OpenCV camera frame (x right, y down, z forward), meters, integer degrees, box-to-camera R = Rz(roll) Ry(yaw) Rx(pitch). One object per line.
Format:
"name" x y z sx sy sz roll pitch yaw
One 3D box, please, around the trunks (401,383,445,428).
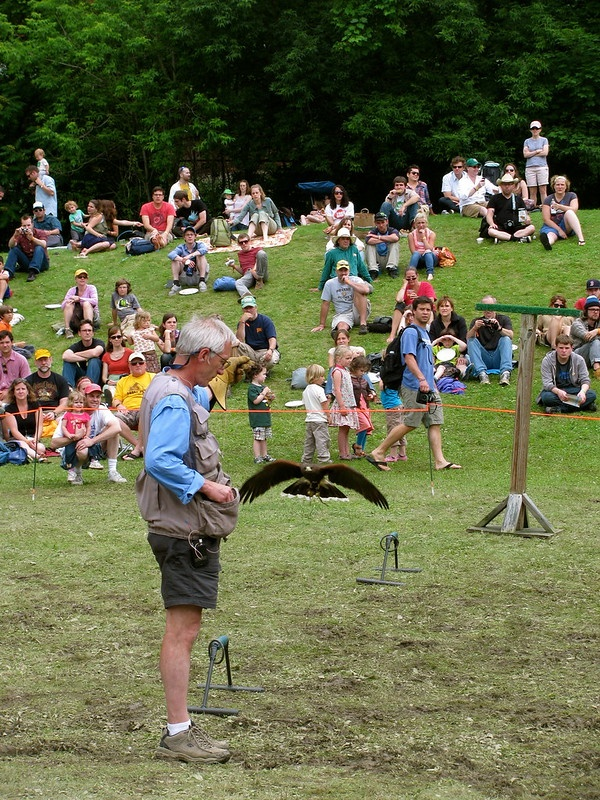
"trunks" 1.204 0.087 17.358 0.416 0.419 0.459 -1 3 2

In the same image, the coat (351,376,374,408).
"coat" 0.644 -0.074 18.629 0.202 0.328 0.355 -5 2 29

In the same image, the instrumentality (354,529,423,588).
"instrumentality" 0.715 1.263 14.085 0.450 0.362 0.612 1 7 14

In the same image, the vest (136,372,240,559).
"vest" -0.782 0.403 11.673 0.734 1.071 0.829 -1 3 -9

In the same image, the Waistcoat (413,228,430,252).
"Waistcoat" 1.641 -2.153 23.807 0.225 0.301 0.327 -1 -2 2

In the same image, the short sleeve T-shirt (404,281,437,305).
"short sleeve T-shirt" 1.460 -1.325 21.589 0.451 0.429 0.455 -1 -2 9

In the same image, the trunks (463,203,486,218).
"trunks" 2.665 -2.888 26.759 0.395 0.215 0.116 3 -16 23

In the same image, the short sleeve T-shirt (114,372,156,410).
"short sleeve T-shirt" -1.674 -0.072 17.279 0.447 0.330 0.241 -1 -7 4

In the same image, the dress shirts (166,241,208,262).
"dress shirts" -1.626 -2.080 24.783 0.386 0.196 0.474 -9 -9 0

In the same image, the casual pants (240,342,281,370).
"casual pants" -0.501 -0.557 20.956 0.358 0.134 0.342 23 2 -12

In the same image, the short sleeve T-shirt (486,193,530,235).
"short sleeve T-shirt" 3.024 -2.657 25.063 0.809 0.729 0.550 0 14 11

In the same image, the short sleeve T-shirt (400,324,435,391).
"short sleeve T-shirt" 1.143 -0.392 17.196 0.435 0.697 0.645 -1 4 11

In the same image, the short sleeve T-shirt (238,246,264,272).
"short sleeve T-shirt" -0.706 -1.922 24.133 0.382 0.320 0.210 -5 -4 20

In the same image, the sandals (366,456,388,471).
"sandals" 0.788 0.665 17.968 0.097 0.258 0.104 -33 21 7

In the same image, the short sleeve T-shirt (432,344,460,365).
"short sleeve T-shirt" 1.740 -0.529 20.851 0.266 0.198 0.270 -1 3 3

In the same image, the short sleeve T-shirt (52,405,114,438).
"short sleeve T-shirt" -2.241 0.220 17.882 0.419 0.179 0.419 -29 21 -34

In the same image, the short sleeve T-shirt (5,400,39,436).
"short sleeve T-shirt" -3.104 0.205 19.115 0.403 0.350 0.229 -6 7 -35

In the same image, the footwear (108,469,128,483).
"footwear" -1.898 0.790 17.727 0.087 0.092 0.236 -10 7 -37

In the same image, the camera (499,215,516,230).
"camera" 2.983 -2.502 24.980 0.151 0.152 0.159 -20 4 -5

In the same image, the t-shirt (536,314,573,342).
"t-shirt" 2.971 -0.819 20.175 0.320 0.353 0.665 2 11 14

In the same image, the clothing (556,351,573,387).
"clothing" 2.985 -0.300 19.659 0.251 0.312 0.118 0 12 5

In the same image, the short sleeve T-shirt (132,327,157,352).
"short sleeve T-shirt" -1.902 -0.702 20.800 0.306 0.297 0.160 -1 -35 -11

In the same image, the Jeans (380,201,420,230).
"Jeans" 1.428 -2.597 25.015 0.457 0.501 0.532 -4 7 6

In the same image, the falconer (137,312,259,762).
"falconer" -0.833 0.930 11.659 0.850 2.858 1.219 0 1 -8

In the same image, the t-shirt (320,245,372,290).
"t-shirt" 0.586 -1.657 22.232 0.838 0.605 0.262 -1 -3 -12

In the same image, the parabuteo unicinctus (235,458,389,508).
"parabuteo unicinctus" 0.066 0.671 14.268 1.055 0.274 0.487 2 19 10

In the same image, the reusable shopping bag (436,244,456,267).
"reusable shopping bag" 2.042 -1.968 24.244 0.313 0.290 0.127 15 -47 -22

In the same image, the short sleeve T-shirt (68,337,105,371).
"short sleeve T-shirt" -2.524 -0.530 20.545 0.422 0.449 0.354 0 -10 9

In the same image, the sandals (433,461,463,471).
"sandals" 1.520 0.692 17.951 0.313 0.110 0.098 -3 5 -6

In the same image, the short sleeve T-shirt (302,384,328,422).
"short sleeve T-shirt" 0.152 0.044 18.082 0.239 0.385 0.373 -1 3 0

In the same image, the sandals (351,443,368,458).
"sandals" 0.613 0.554 18.653 0.163 0.098 0.389 0 -2 -2

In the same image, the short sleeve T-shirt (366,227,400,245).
"short sleeve T-shirt" 1.112 -2.211 23.957 0.450 0.203 0.253 -1 3 10

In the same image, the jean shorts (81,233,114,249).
"jean shorts" -3.217 -2.449 27.029 0.372 0.141 0.285 -6 2 0

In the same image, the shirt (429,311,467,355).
"shirt" 1.752 -0.769 20.729 0.633 0.629 0.351 -2 -6 8

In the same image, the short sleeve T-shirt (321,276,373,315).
"short sleeve T-shirt" 0.583 -1.307 21.888 0.669 0.559 0.486 -7 6 -36

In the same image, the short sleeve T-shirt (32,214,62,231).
"short sleeve T-shirt" -4.014 -2.733 27.195 0.493 0.222 0.337 3 -27 -7

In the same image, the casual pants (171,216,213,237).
"casual pants" -1.744 -2.587 26.745 0.708 0.342 0.276 -2 -42 14

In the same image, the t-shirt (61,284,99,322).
"t-shirt" -2.903 -1.282 23.242 0.450 0.520 0.543 -1 -4 6

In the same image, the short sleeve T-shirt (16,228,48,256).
"short sleeve T-shirt" -4.101 -2.387 25.985 0.420 0.447 0.485 -4 26 1

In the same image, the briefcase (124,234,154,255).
"briefcase" -2.482 -2.326 26.442 0.401 0.174 0.468 -2 10 -15

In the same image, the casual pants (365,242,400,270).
"casual pants" 1.146 -1.957 24.163 0.442 0.378 0.550 -1 19 7

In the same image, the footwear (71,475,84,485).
"footwear" -2.300 0.819 17.621 0.138 0.122 0.069 17 -23 -30

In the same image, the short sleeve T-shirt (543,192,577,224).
"short sleeve T-shirt" 3.718 -2.689 24.769 0.420 0.462 0.333 -10 -12 22

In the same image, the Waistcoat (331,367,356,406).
"Waistcoat" 0.445 -0.112 18.375 0.269 0.418 0.274 -2 3 -12
